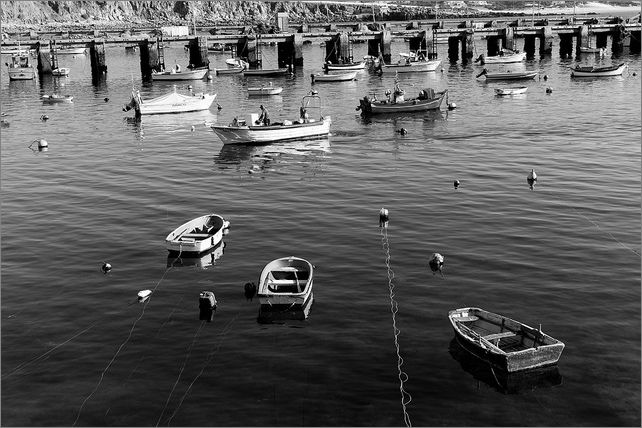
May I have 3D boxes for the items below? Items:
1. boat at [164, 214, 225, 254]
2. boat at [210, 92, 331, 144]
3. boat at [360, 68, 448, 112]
[{"bbox_3d":[-8.504,1.513,60.209,3.091,2.127,3.883,3,13,27],"label":"boat"},{"bbox_3d":[-4.405,-8.089,80.773,10.106,2.948,2.055,-7,13,-17],"label":"boat"},{"bbox_3d":[7.793,-11.752,93.517,12.255,5.311,3.876,-6,31,-1],"label":"boat"}]
